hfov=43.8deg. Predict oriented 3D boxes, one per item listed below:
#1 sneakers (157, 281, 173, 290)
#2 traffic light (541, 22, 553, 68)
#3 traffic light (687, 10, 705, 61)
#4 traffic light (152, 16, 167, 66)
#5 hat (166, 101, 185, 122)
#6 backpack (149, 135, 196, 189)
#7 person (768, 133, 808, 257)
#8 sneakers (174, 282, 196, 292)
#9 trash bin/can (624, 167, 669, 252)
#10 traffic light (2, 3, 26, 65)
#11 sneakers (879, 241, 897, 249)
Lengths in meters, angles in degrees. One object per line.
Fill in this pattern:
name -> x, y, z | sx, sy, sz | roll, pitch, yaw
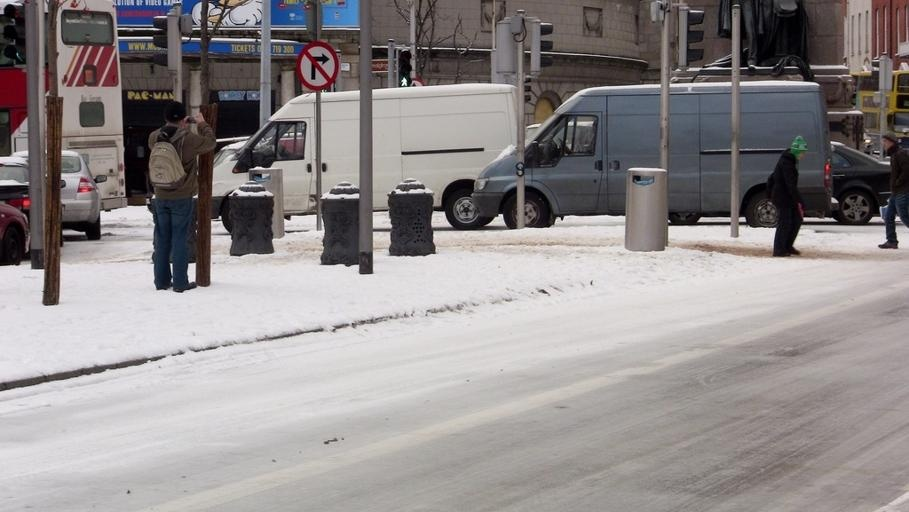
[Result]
sneakers -> -4.247, 0.417, 16.555 | 0.283, 0.119, 0.085 | -9, 13, -5
traffic light -> 1.991, -4.591, 24.511 | 0.308, 0.953, 0.220 | -5, 23, -6
traffic light -> 4.765, -4.299, 22.463 | 0.392, 1.135, 0.252 | 2, 8, 15
traffic light -> -6.364, -4.621, 24.342 | 0.347, 1.021, 0.250 | -2, 4, -1
hat -> -4.055, -2.101, 16.390 | 0.230, 0.204, 0.320 | -1, 20, -9
backpack -> -4.190, -1.328, 16.225 | 0.549, 0.692, 0.401 | 2, 20, 1
person -> 6.423, -1.116, 21.789 | 0.681, 2.125, 1.516 | 4, 15, 16
sneakers -> -3.932, 0.455, 16.494 | 0.109, 0.136, 0.332 | 8, 14, 34
trash bin/can -> 3.590, -0.845, 20.916 | 0.757, 1.507, 0.619 | 2, 14, 8
traffic light -> -7.922, -4.009, 20.288 | 0.384, 1.039, 1.416 | -5, 15, -21
sneakers -> 8.690, -0.221, 22.550 | 0.349, 0.146, 0.118 | 6, 7, 24
